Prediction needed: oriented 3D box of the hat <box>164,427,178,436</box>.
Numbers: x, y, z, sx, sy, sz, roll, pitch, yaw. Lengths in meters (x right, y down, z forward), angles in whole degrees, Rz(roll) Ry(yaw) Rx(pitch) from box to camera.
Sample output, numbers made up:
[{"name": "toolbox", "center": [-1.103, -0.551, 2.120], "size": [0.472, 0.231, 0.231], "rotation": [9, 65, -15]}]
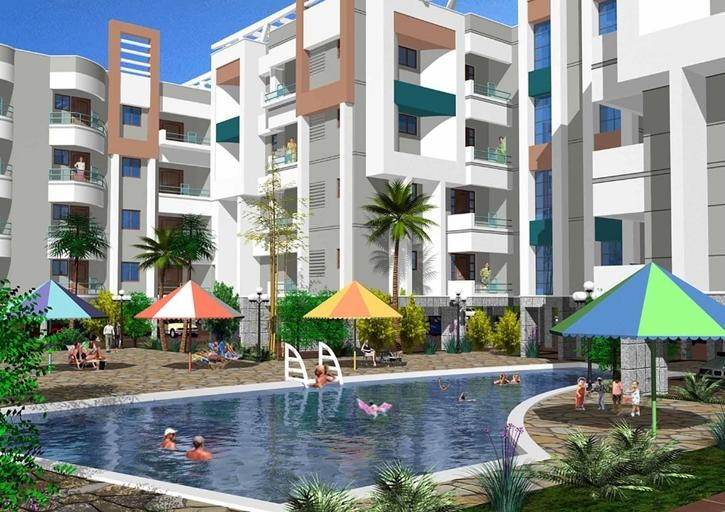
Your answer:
[{"name": "hat", "center": [-5.210, 4.777, 17.604], "size": [0.437, 0.215, 0.518], "rotation": [0, -6, -26]}]

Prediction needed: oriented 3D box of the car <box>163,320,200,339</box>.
[{"name": "car", "center": [-14.481, 5.877, 52.058], "size": [2.561, 1.425, 5.109], "rotation": [2, -9, -16]}]

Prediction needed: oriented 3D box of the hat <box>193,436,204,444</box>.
[{"name": "hat", "center": [-4.089, 4.583, 16.087], "size": [0.198, 0.238, 0.573], "rotation": [2, -9, -19]}]
